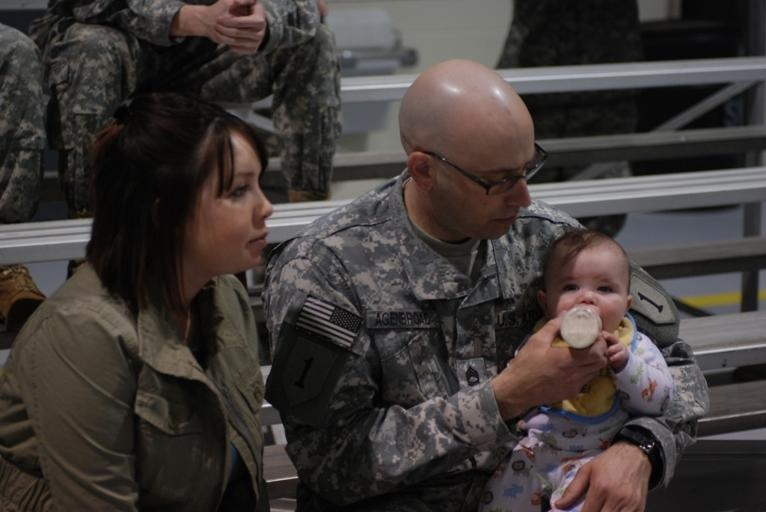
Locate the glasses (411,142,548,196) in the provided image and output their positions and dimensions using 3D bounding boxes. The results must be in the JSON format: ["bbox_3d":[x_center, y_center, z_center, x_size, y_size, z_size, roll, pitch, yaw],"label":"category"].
[{"bbox_3d":[0.324,-0.287,2.965,0.237,0.066,0.239,39,45,18],"label":"glasses"}]

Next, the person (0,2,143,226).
[{"bbox_3d":[-1.273,-0.529,3.788,0.685,0.866,0.307,3,4,-38],"label":"person"}]

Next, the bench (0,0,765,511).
[{"bbox_3d":[0.018,0.033,3.547,2.690,1.357,1.584,1,8,-4],"label":"bench"}]
